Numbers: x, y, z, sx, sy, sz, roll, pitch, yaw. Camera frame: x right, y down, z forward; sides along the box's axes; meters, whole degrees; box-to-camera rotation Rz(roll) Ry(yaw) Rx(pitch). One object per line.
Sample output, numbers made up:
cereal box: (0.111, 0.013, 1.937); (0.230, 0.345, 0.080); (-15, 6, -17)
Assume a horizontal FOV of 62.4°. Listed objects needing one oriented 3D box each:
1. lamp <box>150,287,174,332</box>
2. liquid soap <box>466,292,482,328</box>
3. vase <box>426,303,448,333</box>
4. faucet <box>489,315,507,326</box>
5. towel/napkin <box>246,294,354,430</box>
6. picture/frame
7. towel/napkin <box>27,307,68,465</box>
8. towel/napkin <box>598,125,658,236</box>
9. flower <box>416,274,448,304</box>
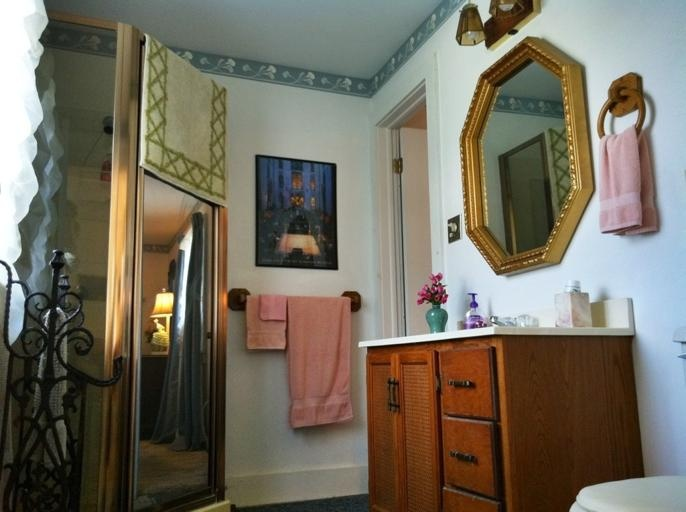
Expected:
lamp: (-0.868, 0.316, 2.772); (0.075, 0.284, 0.078); (-4, -2, 15)
liquid soap: (0.657, 0.265, 2.837); (0.077, 0.180, 0.420); (0, -6, 13)
vase: (0.480, 0.317, 2.882); (0.094, 0.143, 0.173); (0, -6, 11)
faucet: (0.729, 0.302, 2.652); (0.128, 0.039, 0.081); (6, -7, -44)
towel/napkin: (-0.304, 0.699, 3.640); (0.721, 0.958, 0.124); (5, -18, -22)
picture/frame: (-0.342, -0.270, 3.875); (0.664, 0.985, 0.037); (4, -10, -25)
towel/napkin: (-1.260, 0.463, 2.427); (0.134, 0.024, 0.582); (23, 29, -37)
towel/napkin: (1.133, -0.293, 2.256); (0.120, 0.414, 0.190); (5, -7, -37)
flower: (0.484, 0.193, 3.006); (0.187, 0.216, 0.179); (2, -6, 5)
